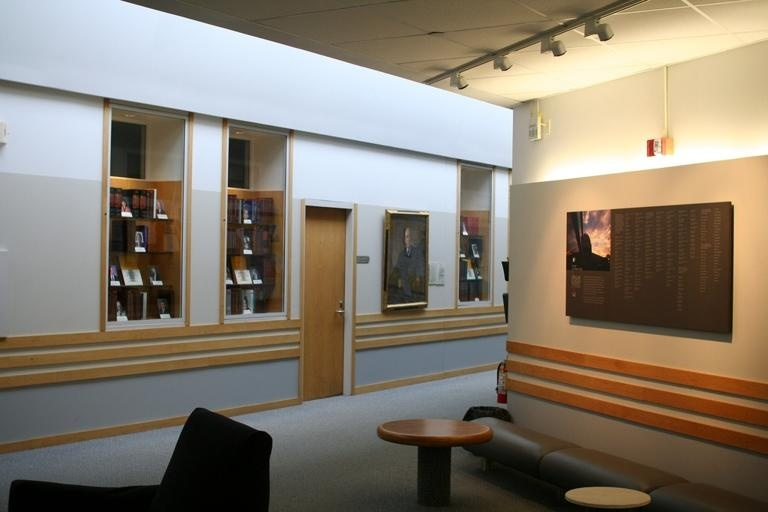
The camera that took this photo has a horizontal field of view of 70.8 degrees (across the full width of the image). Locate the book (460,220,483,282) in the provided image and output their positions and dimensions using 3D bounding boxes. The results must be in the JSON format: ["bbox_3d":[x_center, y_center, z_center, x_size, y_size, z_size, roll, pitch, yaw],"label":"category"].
[{"bbox_3d":[1.586,-0.118,9.733,0.530,1.073,0.159,-3,7,-45],"label":"book"}]

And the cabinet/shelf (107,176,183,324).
[{"bbox_3d":[-3.086,-0.072,6.878,0.861,1.731,0.645,-1,9,-38],"label":"cabinet/shelf"}]

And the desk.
[{"bbox_3d":[0.513,1.972,5.255,0.838,0.546,0.857,1,-3,34],"label":"desk"}]
